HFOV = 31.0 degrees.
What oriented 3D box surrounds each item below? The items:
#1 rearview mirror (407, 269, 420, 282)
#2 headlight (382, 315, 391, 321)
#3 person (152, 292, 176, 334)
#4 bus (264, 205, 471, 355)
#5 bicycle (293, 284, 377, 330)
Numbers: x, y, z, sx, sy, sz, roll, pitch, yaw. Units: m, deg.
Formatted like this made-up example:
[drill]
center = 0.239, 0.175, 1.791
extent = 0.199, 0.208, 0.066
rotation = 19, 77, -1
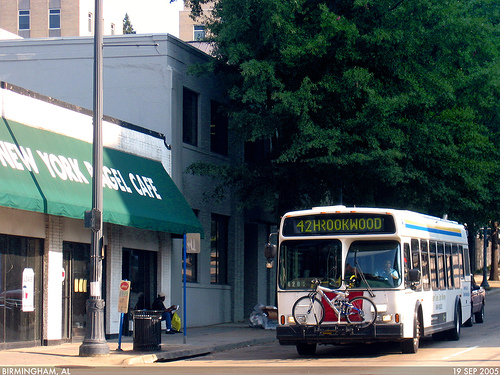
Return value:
[rearview mirror]
center = 4.649, 2.500, 25.554
extent = 0.312, 0.293, 0.328
rotation = 0, -7, 1
[headlight]
center = 3.824, 3.671, 25.303
extent = 0.236, 0.155, 0.039
rotation = -5, -10, 13
[person]
center = -3.083, 4.629, 33.113
extent = 0.761, 1.455, 1.674
rotation = -2, -11, 2
[bus]
center = 4.788, 3.257, 30.573
extent = 3.834, 4.547, 11.615
rotation = -3, -6, 25
[bicycle]
center = 2.387, 3.296, 25.596
extent = 2.381, 1.472, 1.139
rotation = 0, -20, 3
